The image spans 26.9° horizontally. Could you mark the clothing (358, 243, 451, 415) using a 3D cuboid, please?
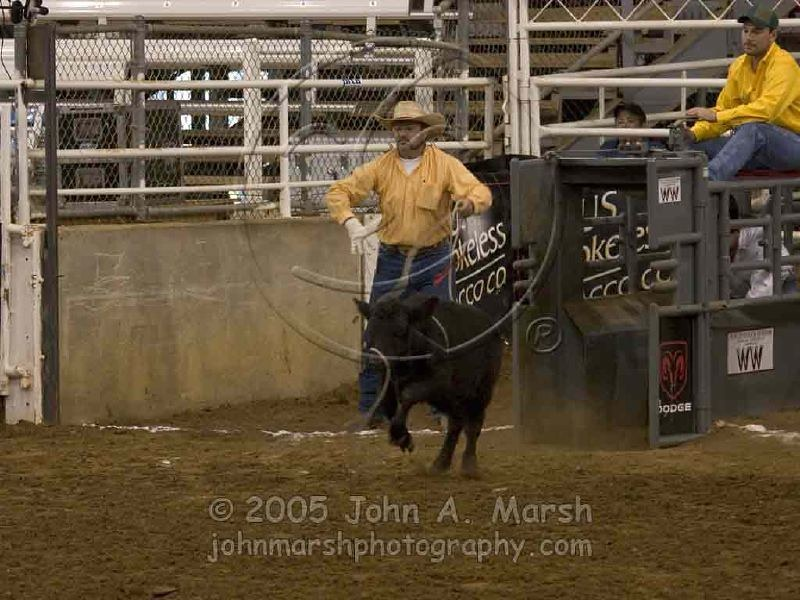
[{"bbox_3d":[-0.005,0.185,11.258,0.687,1.181,0.453,1,3,21],"label":"clothing"}]

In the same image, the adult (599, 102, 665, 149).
[{"bbox_3d":[2.027,-1.546,14.758,0.712,0.417,0.295,0,-1,34],"label":"adult"}]

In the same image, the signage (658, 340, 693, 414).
[{"bbox_3d":[2.086,0.589,12.696,0.290,0.560,0.029,-2,3,-28],"label":"signage"}]

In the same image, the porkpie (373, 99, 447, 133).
[{"bbox_3d":[0.080,-1.245,11.310,0.265,0.085,0.277,3,-15,13],"label":"porkpie"}]

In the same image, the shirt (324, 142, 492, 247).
[{"bbox_3d":[0.083,-0.691,11.484,1.145,0.811,0.651,1,-2,12],"label":"shirt"}]

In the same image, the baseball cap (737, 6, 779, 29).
[{"bbox_3d":[2.869,-2.221,13.279,0.272,0.148,0.202,13,13,-32],"label":"baseball cap"}]

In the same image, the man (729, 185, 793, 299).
[{"bbox_3d":[2.864,-0.459,13.496,0.254,0.803,0.651,2,1,-27],"label":"man"}]

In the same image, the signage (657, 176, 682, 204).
[{"bbox_3d":[1.983,-0.828,12.414,0.010,0.165,0.187,2,7,44],"label":"signage"}]

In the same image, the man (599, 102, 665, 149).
[{"bbox_3d":[2.027,-1.546,14.758,0.712,0.417,0.295,0,-1,34],"label":"man"}]

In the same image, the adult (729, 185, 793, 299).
[{"bbox_3d":[2.860,-0.453,13.505,0.254,0.803,0.651,2,1,-27],"label":"adult"}]

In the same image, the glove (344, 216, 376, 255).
[{"bbox_3d":[-0.270,-0.463,11.486,0.233,0.255,0.066,6,-15,7],"label":"glove"}]

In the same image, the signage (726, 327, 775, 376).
[{"bbox_3d":[2.724,0.389,13.131,0.365,0.276,0.026,-4,3,-38],"label":"signage"}]
